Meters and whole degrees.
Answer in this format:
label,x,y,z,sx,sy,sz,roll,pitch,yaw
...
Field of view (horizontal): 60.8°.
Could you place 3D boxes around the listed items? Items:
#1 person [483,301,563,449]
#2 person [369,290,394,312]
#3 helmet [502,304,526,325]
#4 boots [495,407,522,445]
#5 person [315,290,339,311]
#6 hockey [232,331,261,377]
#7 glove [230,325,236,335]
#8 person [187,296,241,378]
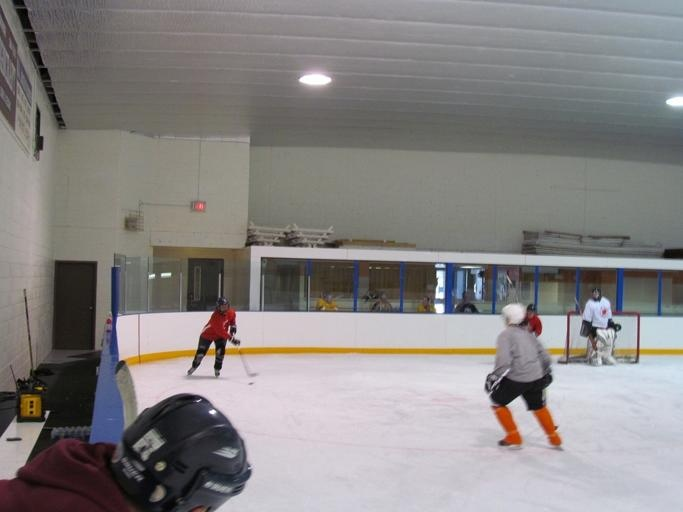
label,x,y,z,sx,sy,sz,roll,pitch,yaw
person,2.173,1.446,7.050,0.774,1.267,0.599,2,-1,-36
person,0.989,1.132,14.852,0.679,0.456,0.122,1,0,-18
helmet,2.117,0.704,7.230,0.208,0.297,0.285,7,17,18
boots,2.003,2.037,7.106,0.253,0.541,0.164,-12,4,7
person,-0.390,0.968,14.748,0.683,0.692,0.390,3,5,-5
hockey,-2.118,2.147,12.778,0.173,1.095,0.159,-27,36,-7
glove,-2.022,1.350,10.772,0.128,0.152,0.154,1,-10,-2
person,-2.437,1.517,11.118,0.882,1.424,1.107,1,0,-14
